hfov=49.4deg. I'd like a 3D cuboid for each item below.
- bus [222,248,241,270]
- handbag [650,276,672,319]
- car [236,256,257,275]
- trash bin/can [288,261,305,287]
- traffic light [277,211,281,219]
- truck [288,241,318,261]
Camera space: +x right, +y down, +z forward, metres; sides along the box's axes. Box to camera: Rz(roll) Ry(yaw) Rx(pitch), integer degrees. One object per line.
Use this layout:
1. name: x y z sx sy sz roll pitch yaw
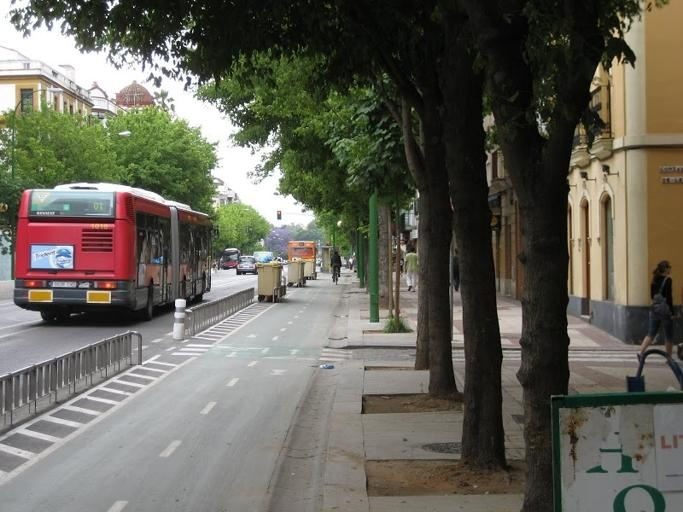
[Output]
1. bus: -16.020 0.441 105.691 2.400 3.484 7.039 0 -3 -2
2. handbag: 6.306 0.837 14.652 0.362 0.807 0.159 -1 1 23
3. car: -9.968 1.085 77.656 1.887 1.796 3.688 -1 0 -10
4. trash bin/can: -3.045 1.211 49.118 1.091 1.744 2.908 -1 0 -5
5. traffic light: -5.631 -3.531 66.278 0.345 0.792 1.757 -1 0 -12
6. truck: -4.026 -0.337 75.348 1.710 1.743 2.806 1 5 3
